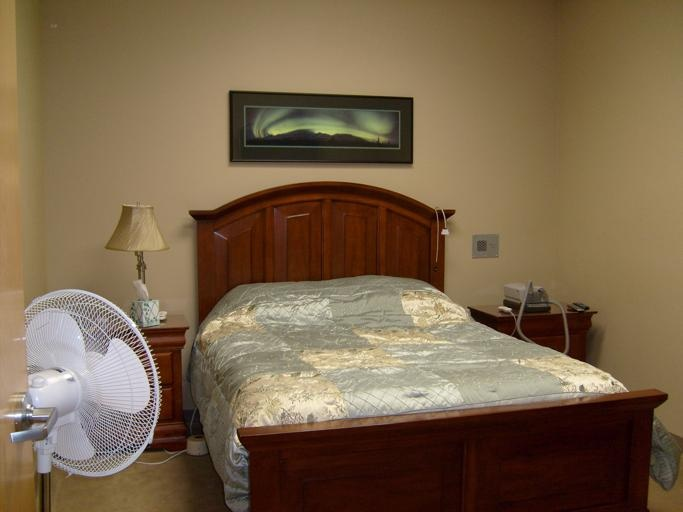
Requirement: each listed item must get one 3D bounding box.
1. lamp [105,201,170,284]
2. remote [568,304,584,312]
[{"bbox_3d":[-1.284,-0.110,3.531,0.435,0.708,0.464,-3,6,-23],"label":"lamp"},{"bbox_3d":[1.605,0.359,3.677,0.045,0.020,0.066,-1,17,-11],"label":"remote"}]
